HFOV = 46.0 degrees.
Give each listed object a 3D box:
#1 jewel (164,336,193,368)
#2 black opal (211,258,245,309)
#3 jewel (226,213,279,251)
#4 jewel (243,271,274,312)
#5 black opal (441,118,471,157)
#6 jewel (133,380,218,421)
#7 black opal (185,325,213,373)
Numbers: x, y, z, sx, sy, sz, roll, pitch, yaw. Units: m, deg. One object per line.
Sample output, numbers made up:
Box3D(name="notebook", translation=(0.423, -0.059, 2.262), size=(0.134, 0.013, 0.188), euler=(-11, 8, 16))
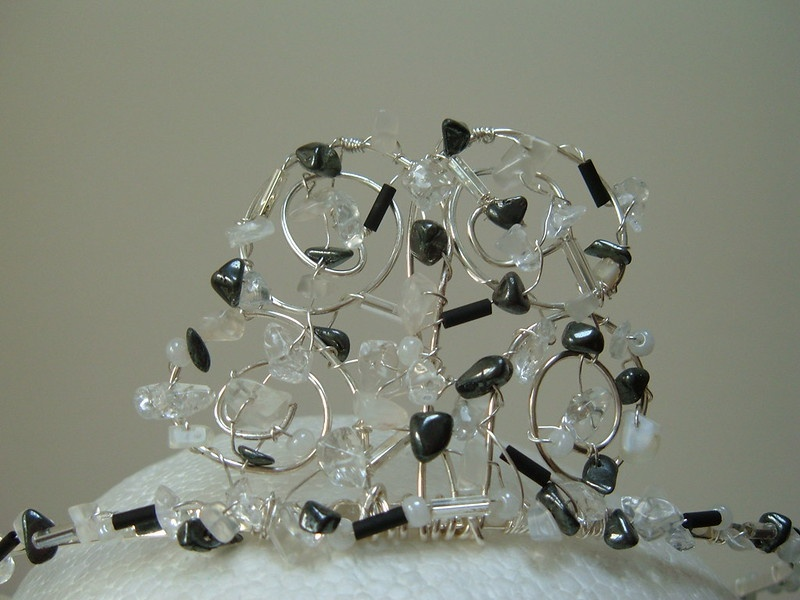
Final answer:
Box3D(name="jewel", translation=(-0.314, 0.074, 1.349), size=(0.034, 0.038, 0.048), euler=(1, 85, -12))
Box3D(name="black opal", translation=(-0.232, -0.018, 1.315), size=(0.052, 0.068, 0.046), euler=(-21, 45, -30))
Box3D(name="jewel", translation=(-0.205, -0.099, 1.337), size=(0.058, 0.016, 0.041), euler=(-18, 74, 13))
Box3D(name="jewel", translation=(-0.202, -0.011, 1.326), size=(0.046, 0.057, 0.031), euler=(0, 37, -8))
Box3D(name="black opal", translation=(0.080, -0.236, 1.357), size=(0.037, 0.054, 0.024), euler=(6, 10, -21))
Box3D(name="jewel", translation=(-0.321, 0.144, 1.313), size=(0.085, 0.038, 0.060), euler=(-6, 74, -4))
Box3D(name="black opal", translation=(-0.284, 0.069, 1.324), size=(0.010, 0.044, 0.057), euler=(-13, 72, 12))
